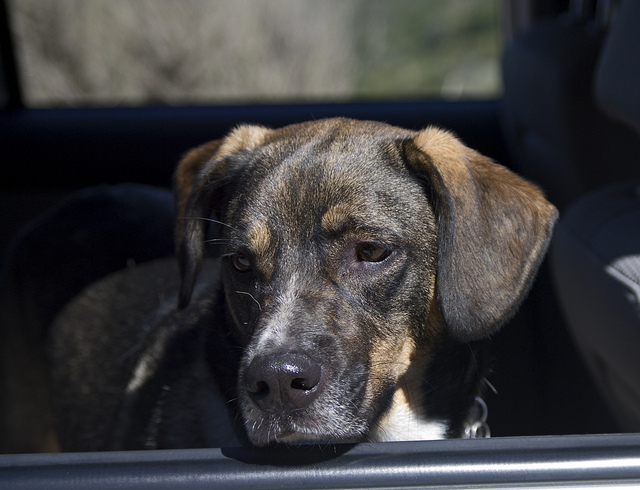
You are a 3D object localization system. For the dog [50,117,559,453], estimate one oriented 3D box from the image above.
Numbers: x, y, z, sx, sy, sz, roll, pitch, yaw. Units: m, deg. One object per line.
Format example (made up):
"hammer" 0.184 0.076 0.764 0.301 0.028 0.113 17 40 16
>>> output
"dog" -0.284 0.155 2.813 0.780 1.094 2.068 7 -6 -36
